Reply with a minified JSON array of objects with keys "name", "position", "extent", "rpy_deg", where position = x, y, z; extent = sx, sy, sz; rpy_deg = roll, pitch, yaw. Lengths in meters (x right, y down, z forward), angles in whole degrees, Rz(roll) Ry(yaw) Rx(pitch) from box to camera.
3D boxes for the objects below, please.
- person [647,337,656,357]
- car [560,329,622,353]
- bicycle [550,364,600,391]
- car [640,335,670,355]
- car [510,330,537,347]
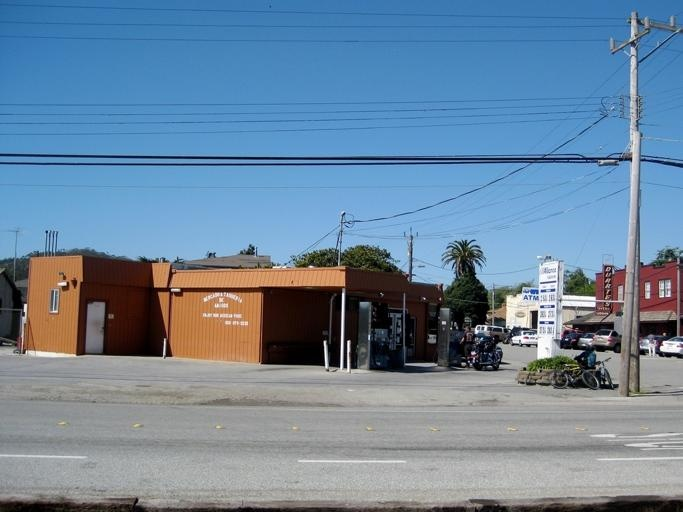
[{"name":"person","position":[20.016,5.942,53.908],"extent":[0.573,1.253,0.437],"rpy_deg":[3,31,24]},{"name":"car","position":[18.199,6.140,58.990],"extent":[2.105,1.599,4.650],"rpy_deg":[1,3,38]},{"name":"bicycle","position":[8.220,4.367,29.489],"extent":[1.558,0.878,0.734],"rpy_deg":[-2,-27,-1]},{"name":"car","position":[20.584,5.897,54.953],"extent":[1.014,0.686,2.378],"rpy_deg":[0,1,40]},{"name":"car","position":[14.801,6.638,66.461],"extent":[1.754,1.181,3.866],"rpy_deg":[0,0,-4]}]
